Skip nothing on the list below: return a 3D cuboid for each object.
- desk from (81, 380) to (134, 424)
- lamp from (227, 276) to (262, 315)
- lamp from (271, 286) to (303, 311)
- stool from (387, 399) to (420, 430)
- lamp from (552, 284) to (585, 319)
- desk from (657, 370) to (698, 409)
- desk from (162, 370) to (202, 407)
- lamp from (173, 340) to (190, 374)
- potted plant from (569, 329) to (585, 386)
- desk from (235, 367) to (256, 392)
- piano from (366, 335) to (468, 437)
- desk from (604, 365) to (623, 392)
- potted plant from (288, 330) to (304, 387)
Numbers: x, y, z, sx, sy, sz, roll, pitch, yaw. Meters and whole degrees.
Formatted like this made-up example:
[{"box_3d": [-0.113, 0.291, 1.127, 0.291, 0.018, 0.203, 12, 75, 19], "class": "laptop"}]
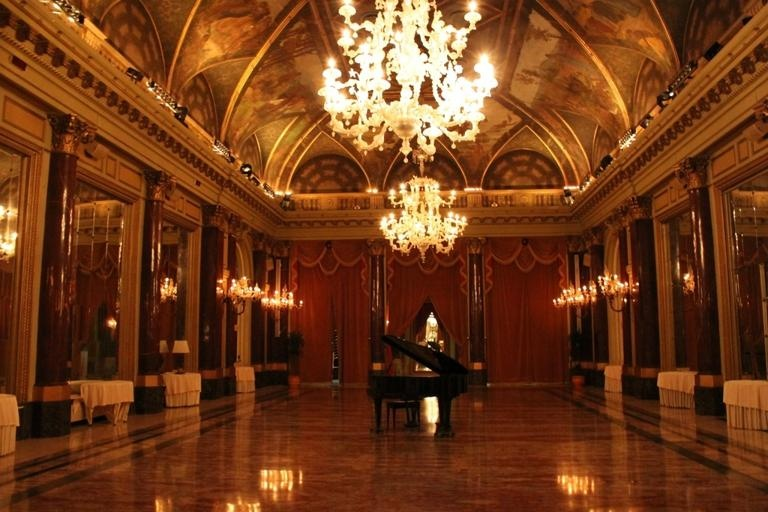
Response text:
[{"box_3d": [-5.621, 2.917, 12.037, 0.518, 0.850, 1.005, -9, -15, 27], "class": "desk"}, {"box_3d": [-4.098, 1.158, 17.270, 1.064, 1.064, 1.056, 4, -3, -39], "class": "lamp"}, {"box_3d": [-3.278, 1.475, 20.483, 0.710, 0.626, 0.855, 4, -6, -3], "class": "lamp"}, {"box_3d": [0.375, 3.128, 12.005, 0.633, 0.670, 0.667, 1, -23, -3], "class": "stool"}, {"box_3d": [6.249, 1.432, 19.722, 0.825, 0.957, 0.921, 0, -7, -2], "class": "lamp"}, {"box_3d": [6.791, 3.198, 14.158, 0.763, 0.579, 0.805, 9, -10, -4], "class": "desk"}, {"box_3d": [-5.011, 3.139, 14.829, 0.721, 0.859, 1.117, -3, 8, -15], "class": "desk"}, {"box_3d": [-5.097, 2.453, 15.016, 0.374, 0.868, 1.691, 2, -15, -18], "class": "lamp"}, {"box_3d": [6.410, 3.397, 19.871, 0.466, 1.744, 1.009, -6, -14, 16], "class": "potted plant"}, {"box_3d": [-4.188, 3.675, 17.990, 0.617, 0.945, 0.660, 0, 1, 8], "class": "desk"}, {"box_3d": [0.684, 2.439, 11.508, 1.812, 1.921, 1.643, -5, -10, 10], "class": "piano"}, {"box_3d": [6.693, 3.560, 17.404, 0.627, 0.887, 0.878, 0, -9, 13], "class": "desk"}, {"box_3d": [-3.065, 3.507, 20.650, 0.544, 1.788, 0.997, 0, -14, -10], "class": "potted plant"}]
